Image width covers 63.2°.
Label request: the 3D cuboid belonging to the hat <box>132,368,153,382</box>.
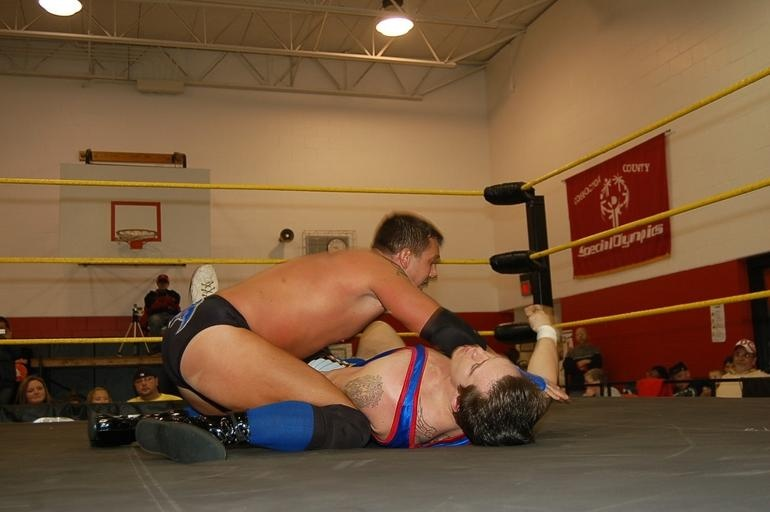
[{"bbox_3d":[-1.685,0.829,4.356,0.117,0.074,0.116,-12,-8,22],"label":"hat"}]

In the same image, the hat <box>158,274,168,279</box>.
[{"bbox_3d":[-2.972,0.285,8.355,0.111,0.072,0.170,6,4,-2],"label":"hat"}]

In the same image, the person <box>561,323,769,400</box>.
[{"bbox_3d":[2.953,1.072,6.910,0.822,0.819,2.337,2,-4,-39],"label":"person"}]

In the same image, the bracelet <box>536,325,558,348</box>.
[{"bbox_3d":[0.726,0.357,2.795,0.088,0.063,0.084,6,-19,-13],"label":"bracelet"}]

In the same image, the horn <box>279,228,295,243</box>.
[{"bbox_3d":[-1.470,-0.289,9.252,0.214,0.201,0.215,5,-11,-16],"label":"horn"}]

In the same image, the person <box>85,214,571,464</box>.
[{"bbox_3d":[-0.237,0.294,2.452,1.482,0.792,0.953,8,-9,-18],"label":"person"}]

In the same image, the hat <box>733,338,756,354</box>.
[{"bbox_3d":[3.397,0.849,5.887,0.136,0.104,0.208,-1,-26,47],"label":"hat"}]
